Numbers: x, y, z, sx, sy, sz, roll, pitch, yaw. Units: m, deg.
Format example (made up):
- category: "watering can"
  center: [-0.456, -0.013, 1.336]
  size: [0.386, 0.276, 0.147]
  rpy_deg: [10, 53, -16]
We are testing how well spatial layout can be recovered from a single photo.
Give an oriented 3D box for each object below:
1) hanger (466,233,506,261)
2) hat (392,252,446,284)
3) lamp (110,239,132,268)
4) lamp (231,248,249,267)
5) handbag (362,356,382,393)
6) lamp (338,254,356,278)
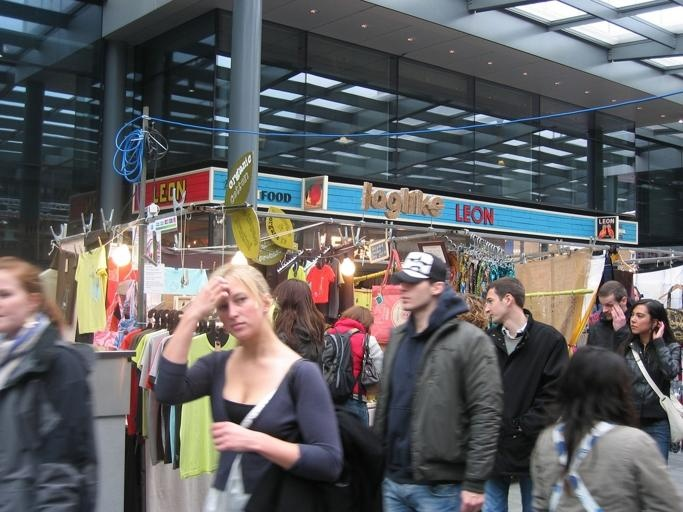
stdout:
- category: "hanger"
  center: [1.650, -0.048, 8.174]
  size: [0.720, 0.278, 0.225]
  rpy_deg: [16, -19, -39]
- category: "hat"
  center: [0.425, 0.066, 3.837]
  size: [0.226, 0.115, 0.156]
  rpy_deg: [13, -3, -9]
- category: "lamp"
  center: [-2.276, -0.038, 7.407]
  size: [0.225, 0.257, 0.768]
  rpy_deg: [2, -2, -18]
- category: "lamp"
  center: [-0.838, -0.005, 5.967]
  size: [0.118, 0.127, 0.118]
  rpy_deg: [3, -35, -10]
- category: "handbag"
  center: [0.243, 0.930, 5.586]
  size: [0.206, 0.241, 0.094]
  rpy_deg: [0, -3, -14]
- category: "lamp"
  center: [0.068, 0.120, 9.123]
  size: [0.226, 0.291, 0.219]
  rpy_deg: [-3, -1, -18]
